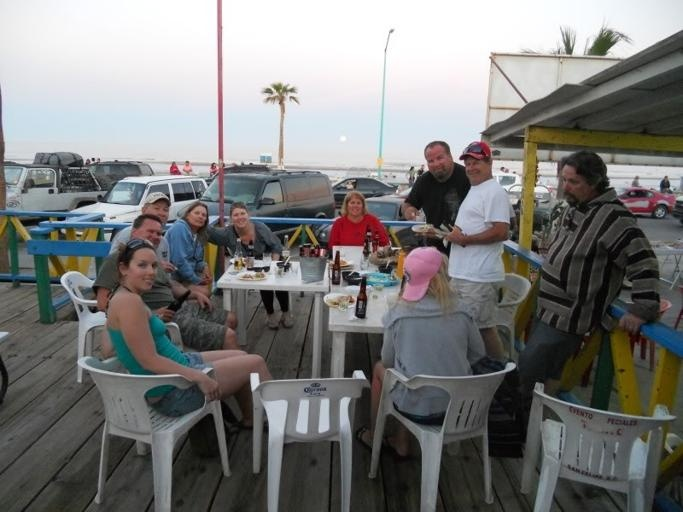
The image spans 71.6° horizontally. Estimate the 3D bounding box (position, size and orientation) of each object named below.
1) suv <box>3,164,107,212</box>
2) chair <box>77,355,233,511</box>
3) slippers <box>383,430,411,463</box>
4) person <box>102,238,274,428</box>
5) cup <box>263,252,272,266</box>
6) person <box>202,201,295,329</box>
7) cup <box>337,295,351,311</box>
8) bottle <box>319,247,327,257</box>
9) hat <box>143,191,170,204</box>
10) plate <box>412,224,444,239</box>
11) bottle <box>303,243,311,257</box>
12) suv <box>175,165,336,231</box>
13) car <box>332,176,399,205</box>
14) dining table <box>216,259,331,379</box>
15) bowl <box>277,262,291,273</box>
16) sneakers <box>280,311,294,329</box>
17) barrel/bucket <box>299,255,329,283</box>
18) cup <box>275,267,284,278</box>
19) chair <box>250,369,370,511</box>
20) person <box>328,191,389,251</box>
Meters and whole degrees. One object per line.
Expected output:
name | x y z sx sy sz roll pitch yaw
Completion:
suv | -7.776 -1.746 12.632 1.439 1.247 2.508 4 6 24
chair | -1.194 1.181 3.094 0.730 0.945 0.745 8 16 26
slippers | 0.390 1.371 3.464 0.111 0.130 0.327 0 9 -6
person | -0.990 0.730 3.417 1.283 1.605 0.745 -1 3 -28
cup | -0.802 0.043 5.090 0.116 0.203 0.117 2 2 0
person | -1.068 0.045 5.485 1.010 1.413 0.728 5 27 10
cup | 0.017 0.376 3.773 0.079 0.086 0.090 1 -2 2
bottle | -0.186 -0.033 4.608 0.068 0.083 0.082 0 2 -10
hat | -1.918 -0.587 4.902 0.262 0.154 0.391 1 -1 -29
plate | 0.765 -0.202 4.066 0.260 0.140 0.379 2 13 17
bottle | -0.344 -0.055 4.547 0.110 0.125 0.111 1 2 6
suv | -1.501 -1.274 10.587 1.644 1.471 3.227 5 8 38
car | 0.809 -2.739 18.835 3.187 1.103 1.504 3 8 -1
dining table | -0.666 0.516 4.702 1.104 1.083 1.111 1 11 4
bowl | -0.565 0.111 4.609 0.112 0.110 0.082 1 5 -6
sneakers | -0.660 0.742 5.479 0.114 0.205 0.208 -1 0 -23
barrel/bucket | -0.261 0.120 4.257 0.223 0.267 0.210 -1 12 0
cup | -0.598 0.160 4.547 0.084 0.157 0.085 1 11 0
chair | -0.232 1.166 2.947 0.785 0.931 0.631 -1 12 2
person | 0.194 -0.371 5.827 0.793 0.784 0.429 0 7 5
